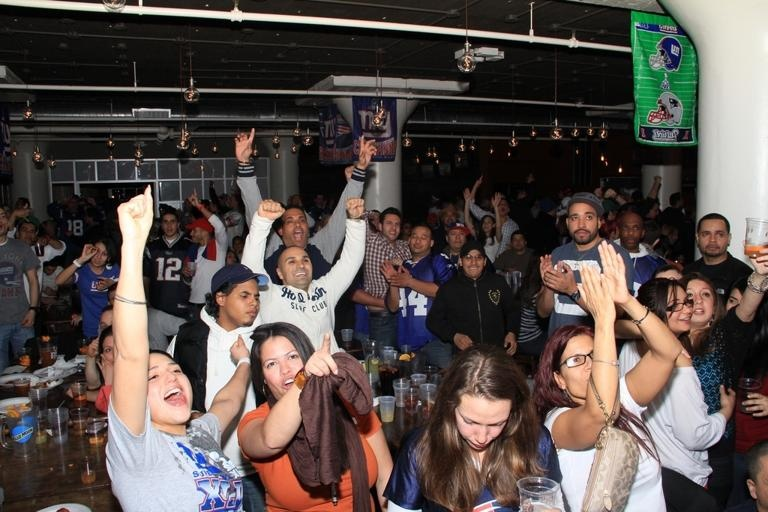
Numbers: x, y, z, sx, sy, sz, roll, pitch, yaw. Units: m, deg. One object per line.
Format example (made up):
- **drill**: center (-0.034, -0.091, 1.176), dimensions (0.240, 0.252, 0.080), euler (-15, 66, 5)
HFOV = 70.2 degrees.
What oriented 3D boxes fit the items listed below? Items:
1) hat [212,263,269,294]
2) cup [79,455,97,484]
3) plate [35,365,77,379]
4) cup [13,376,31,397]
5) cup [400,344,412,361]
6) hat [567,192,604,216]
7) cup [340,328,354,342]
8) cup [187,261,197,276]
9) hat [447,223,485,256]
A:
- **hat**: center (-1.111, 0.198, 4.082), dimensions (0.305, 0.169, 0.224), euler (-25, -5, 12)
- **cup**: center (-2.027, 1.435, 3.723), dimensions (0.087, 0.148, 0.223), euler (-4, 4, -29)
- **plate**: center (-3.095, 1.085, 5.102), dimensions (0.156, 0.052, 0.161), euler (5, 4, 37)
- **cup**: center (-3.148, 1.143, 4.769), dimensions (0.121, 0.128, 0.163), euler (0, -6, 2)
- **cup**: center (0.187, 0.838, 4.745), dimensions (0.089, 0.182, 0.088), euler (-1, 13, 0)
- **hat**: center (1.931, -0.511, 5.189), dimensions (0.223, 0.158, 0.305), euler (0, -36, 50)
- **cup**: center (-0.352, 0.740, 5.170), dimensions (0.119, 0.097, 0.124), euler (2, -4, 0)
- **cup**: center (-2.469, 0.178, 6.995), dimensions (0.119, 0.173, 0.127), euler (0, 1, 0)
- **hat**: center (0.987, -0.246, 7.086), dimensions (0.405, 0.400, 0.734), euler (0, -3, -9)
